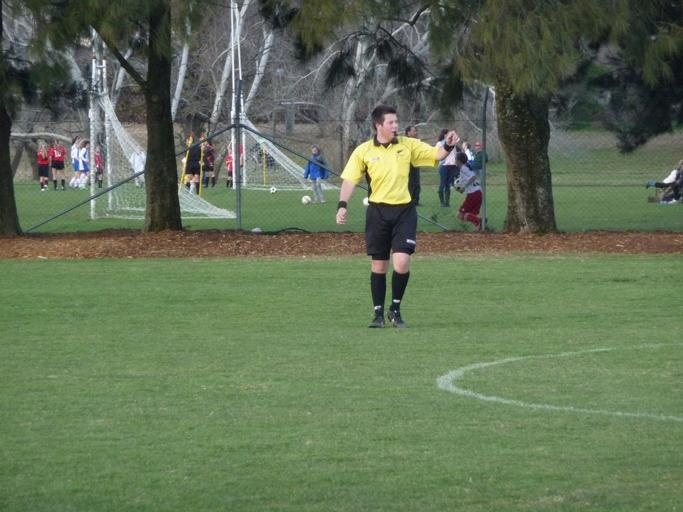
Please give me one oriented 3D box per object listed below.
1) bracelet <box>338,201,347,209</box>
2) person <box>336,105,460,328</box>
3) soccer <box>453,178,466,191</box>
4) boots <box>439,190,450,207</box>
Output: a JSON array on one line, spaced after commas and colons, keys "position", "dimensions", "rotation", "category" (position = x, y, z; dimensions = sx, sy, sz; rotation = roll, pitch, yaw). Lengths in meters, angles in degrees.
[{"position": [-0.004, -0.606, 16.790], "dimensions": [0.112, 0.117, 0.117], "rotation": [0, -4, 15], "category": "bracelet"}, {"position": [0.585, -0.471, 16.875], "dimensions": [1.259, 2.620, 0.824], "rotation": [0, 9, -1], "category": "person"}, {"position": [2.114, -1.279, 25.457], "dimensions": [0.086, 0.229, 0.150], "rotation": [13, -11, -43], "category": "soccer"}, {"position": [2.360, -1.285, 32.523], "dimensions": [0.239, 0.375, 0.323], "rotation": [1, -6, -16], "category": "boots"}]
